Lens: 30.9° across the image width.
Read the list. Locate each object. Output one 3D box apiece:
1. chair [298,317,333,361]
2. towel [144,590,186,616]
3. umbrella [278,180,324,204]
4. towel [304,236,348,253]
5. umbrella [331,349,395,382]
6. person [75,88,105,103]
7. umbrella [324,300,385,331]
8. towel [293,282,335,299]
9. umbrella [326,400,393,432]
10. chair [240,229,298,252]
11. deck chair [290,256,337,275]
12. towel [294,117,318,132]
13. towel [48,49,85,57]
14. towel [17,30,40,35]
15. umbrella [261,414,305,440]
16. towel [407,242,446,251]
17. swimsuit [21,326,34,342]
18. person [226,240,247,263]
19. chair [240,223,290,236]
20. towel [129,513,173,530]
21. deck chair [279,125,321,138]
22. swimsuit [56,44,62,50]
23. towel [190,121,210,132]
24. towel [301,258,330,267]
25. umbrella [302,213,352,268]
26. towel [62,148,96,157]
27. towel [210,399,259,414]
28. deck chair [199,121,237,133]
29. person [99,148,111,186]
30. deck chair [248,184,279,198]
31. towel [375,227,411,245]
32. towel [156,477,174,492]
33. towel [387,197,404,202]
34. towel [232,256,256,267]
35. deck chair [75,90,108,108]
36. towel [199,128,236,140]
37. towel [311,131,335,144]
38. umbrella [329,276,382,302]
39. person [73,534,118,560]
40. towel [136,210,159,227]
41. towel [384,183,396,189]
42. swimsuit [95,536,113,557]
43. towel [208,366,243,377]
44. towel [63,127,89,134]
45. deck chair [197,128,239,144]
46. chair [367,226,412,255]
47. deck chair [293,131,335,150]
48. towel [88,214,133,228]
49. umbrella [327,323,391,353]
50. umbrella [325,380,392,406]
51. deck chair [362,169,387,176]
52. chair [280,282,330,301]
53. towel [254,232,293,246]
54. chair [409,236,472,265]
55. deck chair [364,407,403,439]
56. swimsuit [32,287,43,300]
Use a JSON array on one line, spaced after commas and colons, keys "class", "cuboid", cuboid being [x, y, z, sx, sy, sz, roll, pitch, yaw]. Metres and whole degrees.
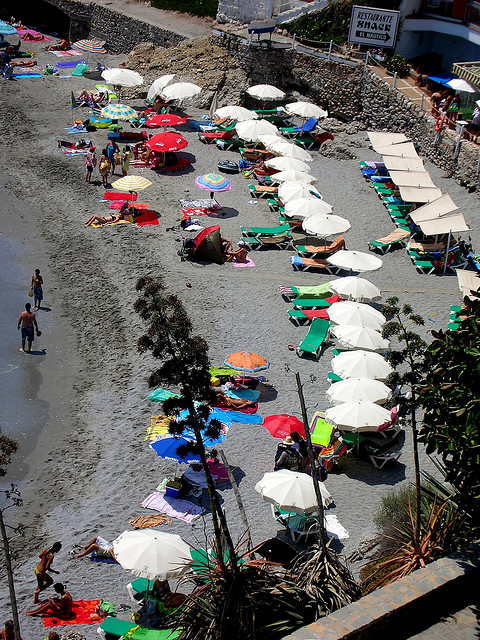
[{"class": "chair", "cuboid": [1.835, 0.428, 21.510, 0.632, 0.587, 0.950, 19, 53, 10]}, {"class": "towel", "cuboid": [-1.328, 4.693, 14.409, 0.693, 0.217, 0.180, 17, 21, 31]}, {"class": "umbrella", "cuboid": [1.755, -4.165, 27.639, 1.057, 0.343, 1.066, 32, 39, 28]}, {"class": "towel", "cuboid": [2.551, -2.247, 26.061, 1.004, 0.310, 0.577, -2, 20, 0]}, {"class": "umbrella", "cuboid": [2.715, 0.966, 19.116, 1.002, 0.293, 0.870, -11, 34, -19]}, {"class": "person", "cuboid": [-6.667, -9.899, 38.390, 1.111, 0.343, 0.723, 8, 10, 12]}, {"class": "umbrella", "cuboid": [2.857, -0.114, 20.881, 1.029, 0.280, 0.864, 2, 32, -15]}, {"class": "towel", "cuboid": [1.990, -0.799, 23.428, 0.875, 0.207, 0.445, 1, 28, 2]}, {"class": "umbrella", "cuboid": [2.422, 1.932, 17.516, 0.908, 0.255, 0.800, -11, 24, -18]}, {"class": "chair", "cuboid": [0.873, -2.484, 26.928, 1.564, 0.343, 0.724, -2, 27, -4]}, {"class": "deck chair", "cuboid": [2.010, -1.641, 25.458, 1.010, 0.237, 0.528, 5, 19, -2]}, {"class": "towel", "cuboid": [2.703, -7.919, 35.484, 0.910, 0.303, 0.549, -12, 46, -6]}, {"class": "towel", "cuboid": [-9.592, -14.877, 48.244, 1.526, 0.410, 1.676, 1, 18, -17]}, {"class": "towel", "cuboid": [-12.721, -17.322, 52.177, 1.163, 0.310, 0.953, 2, 18, -13]}, {"class": "umbrella", "cuboid": [0.897, 2.153, 17.779, 0.639, 0.363, 0.523, 2, 38, -5]}, {"class": "towel", "cuboid": [5.452, -2.182, 25.653, 0.686, 0.095, 0.360, 4, 20, 4]}, {"class": "swimsuit", "cuboid": [-5.519, 0.311, 22.629, 0.328, 0.529, 0.548, 3, 20, -15]}, {"class": "person", "cuboid": [0.087, -2.087, 26.159, 0.848, 0.698, 0.548, 7, 15, 5]}, {"class": "chair", "cuboid": [0.753, -2.756, 26.881, 1.726, 0.393, 0.445, -1, 44, -6]}, {"class": "towel", "cuboid": [-1.680, 3.775, 16.346, 0.483, 0.056, 0.317, -13, 24, -27]}, {"class": "deck chair", "cuboid": [2.439, -7.810, 35.798, 1.371, 0.335, 0.630, 1, 36, -2]}, {"class": "swimsuit", "cuboid": [-10.166, -15.391, 48.859, 0.361, 0.277, 0.163, 10, 42, 1]}, {"class": "towel", "cuboid": [-1.651, -8.234, 36.437, 0.693, 0.236, 0.577, -3, 31, -3]}, {"class": "towel", "cuboid": [2.205, -1.687, 25.483, 0.801, 0.245, 0.530, 7, 18, 2]}, {"class": "umbrella", "cuboid": [2.495, -2.594, 25.566, 0.990, 1.004, 0.969, 28, 54, 23]}, {"class": "towel", "cuboid": [-6.421, -6.592, 33.964, 0.840, 0.175, 0.405, -7, 28, -3]}, {"class": "towel", "cuboid": [-0.162, 1.904, 19.357, 1.111, 0.153, 0.627, 4, 25, 2]}, {"class": "deck chair", "cuboid": [-1.140, -7.962, 35.946, 0.919, 0.286, 0.593, 6, 12, -2]}, {"class": "person", "cuboid": [-4.840, -5.426, 31.140, 0.412, 1.179, 1.102, 6, 20, -10]}, {"class": "deck chair", "cuboid": [0.812, -4.458, 30.057, 0.868, 0.212, 0.403, 3, 21, 6]}, {"class": "towel", "cuboid": [4.692, -2.564, 26.421, 0.882, 0.176, 0.492, -24, 37, -28]}, {"class": "towel", "cuboid": [-1.504, 3.266, 17.291, 0.217, 0.033, 0.364, 14, 37, 18]}, {"class": "towel", "cuboid": [5.213, -4.094, 29.267, 0.509, 0.176, 0.647, 8, 17, 5]}, {"class": "towel", "cuboid": [0.099, -1.746, 25.885, 0.656, 0.211, 0.588, 5, 17, -4]}, {"class": "deck chair", "cuboid": [-6.564, -9.802, 38.407, 1.328, 0.662, 0.588, 7, 29, -3]}, {"class": "towel", "cuboid": [-0.873, -7.416, 34.739, 0.883, 0.283, 0.531, 9, 27, 2]}, {"class": "towel", "cuboid": [3.313, -7.395, 35.123, 0.828, 0.756, 0.417, 13, 71, 11]}, {"class": "umbrella", "cuboid": [2.923, -0.788, 22.154, 0.979, 0.314, 0.832, -2, 31, -19]}, {"class": "person", "cuboid": [-2.589, 4.108, 15.879, 0.884, 0.249, 0.520, 7, 18, 4]}, {"class": "towel", "cuboid": [-3.041, -3.333, 28.471, 0.680, 0.365, 1.055, 4, 17, -11]}, {"class": "towel", "cuboid": [5.233, -4.760, 30.618, 0.481, 0.147, 0.324, 0, 8, 0]}, {"class": "swimsuit", "cuboid": [-2.468, 4.112, 15.784, 0.392, 0.120, 0.265, 17, 23, 6]}, {"class": "towel", "cuboid": [-0.417, 1.165, 20.067, 0.412, 0.070, 0.399, 15, 16, 30]}, {"class": "towel", "cuboid": [-6.684, -7.816, 35.644, 1.068, 0.079, 0.860, -5, 18, -5]}, {"class": "deck chair", "cuboid": [-0.861, -7.426, 34.811, 1.260, 0.384, 0.757, 3, 18, 0]}, {"class": "chair", "cuboid": [4.547, -2.492, 26.410, 1.368, 0.535, 0.723, -17, 36, -8]}, {"class": "deck chair", "cuboid": [2.945, -7.294, 35.090, 1.507, 0.663, 0.959, 4, 19, -7]}, {"class": "towel", "cuboid": [-4.200, -3.240, 28.591, 0.991, 0.212, 0.547, -10, 21, -8]}, {"class": "umbrella", "cuboid": [2.862, 0.438, 20.188, 0.971, 0.269, 0.817, 0, 28, -12]}, {"class": "umbrella", "cuboid": [2.436, 1.491, 18.210, 1.010, 0.281, 0.971, 10, 25, 34]}, {"class": "deck chair", "cuboid": [4.873, -5.418, 31.710, 0.991, 0.254, 0.283, -1, 1, 23]}, {"class": "chair", "cuboid": [1.761, -0.812, 23.564, 1.162, 0.281, 0.569, -2, 24, 4]}, {"class": "towel", "cuboid": [1.085, -2.504, 26.965, 1.219, 0.440, 0.456, -1, 21, -24]}, {"class": "chair", "cuboid": [5.751, -1.959, 25.328, 1.569, 0.760, 1.174, 9, 18, 7]}, {"class": "deck chair", "cuboid": [3.101, 2.173, 18.125, 0.643, 0.728, 0.617, -16, 33, -29]}, {"class": "swimsuit", "cuboid": [-5.609, -0.767, 24.113, 0.249, 0.433, 0.505, 5, 19, -10]}]
